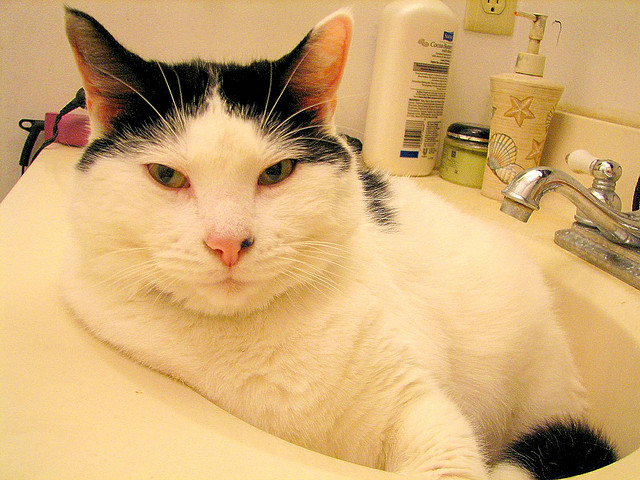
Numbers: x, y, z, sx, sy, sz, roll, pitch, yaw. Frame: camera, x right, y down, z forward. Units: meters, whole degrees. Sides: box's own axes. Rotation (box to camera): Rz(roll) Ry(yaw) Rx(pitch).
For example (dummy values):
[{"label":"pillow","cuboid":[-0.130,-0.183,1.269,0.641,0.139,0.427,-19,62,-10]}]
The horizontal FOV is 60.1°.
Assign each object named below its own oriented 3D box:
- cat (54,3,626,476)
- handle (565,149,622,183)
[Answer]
[{"label":"cat","cuboid":[0.093,0.002,1.050,0.689,0.667,0.961,-7,-17,27]},{"label":"handle","cuboid":[0.483,-0.134,0.977,0.047,0.048,0.106,-15,27,-23]}]
